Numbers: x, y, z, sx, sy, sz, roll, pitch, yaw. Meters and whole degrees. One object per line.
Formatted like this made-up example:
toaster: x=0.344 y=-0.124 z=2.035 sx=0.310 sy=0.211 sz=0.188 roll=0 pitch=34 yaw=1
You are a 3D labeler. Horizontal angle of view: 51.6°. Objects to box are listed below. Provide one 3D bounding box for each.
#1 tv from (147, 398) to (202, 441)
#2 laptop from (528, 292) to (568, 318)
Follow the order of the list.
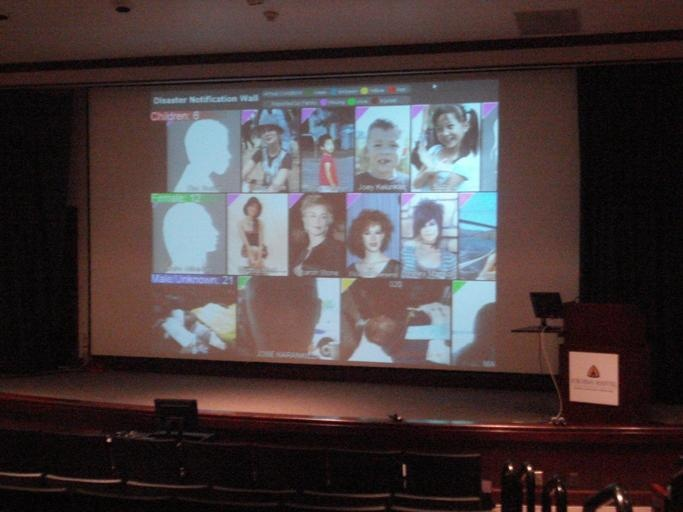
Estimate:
tv: x=-1.411 y=1.380 z=6.203 sx=0.564 sy=0.488 sz=0.280 roll=0 pitch=-6 yaw=-1
laptop: x=2.060 y=0.480 z=7.017 sx=0.339 sy=0.313 sz=0.122 roll=1 pitch=12 yaw=21
